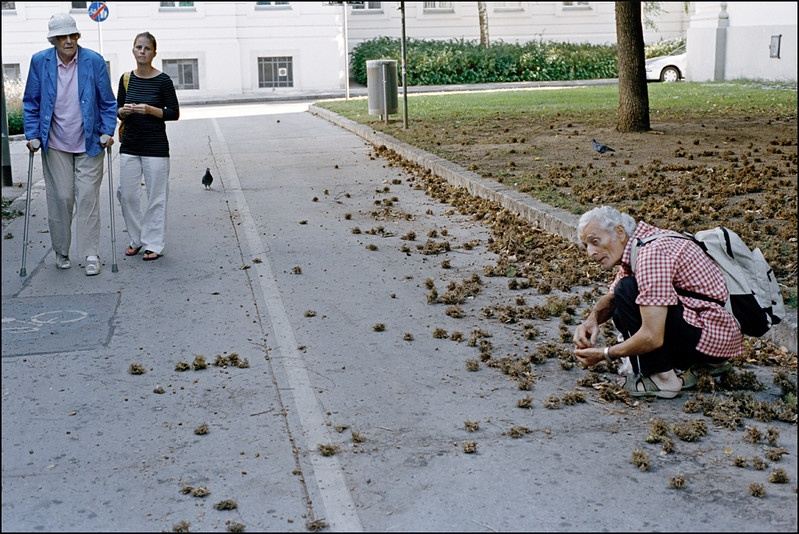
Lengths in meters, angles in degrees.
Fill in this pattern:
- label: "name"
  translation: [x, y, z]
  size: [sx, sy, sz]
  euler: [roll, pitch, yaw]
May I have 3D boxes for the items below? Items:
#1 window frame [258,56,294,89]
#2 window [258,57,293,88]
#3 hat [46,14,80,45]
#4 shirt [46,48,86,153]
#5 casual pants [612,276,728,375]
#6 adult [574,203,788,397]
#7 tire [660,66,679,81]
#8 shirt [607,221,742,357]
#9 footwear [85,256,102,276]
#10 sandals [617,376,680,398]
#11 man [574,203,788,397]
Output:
- label: "window frame"
  translation: [-5.919, -9.118, 35.252]
  size: [1.711, 1.560, 0.211]
  euler: [-1, 3, -15]
- label: "window"
  translation: [-5.939, -9.108, 35.249]
  size: [1.606, 1.270, 0.207]
  euler: [-2, 6, -17]
- label: "hat"
  translation: [-3.966, -2.786, 8.797]
  size: [0.375, 0.228, 0.404]
  euler: [-17, 11, -31]
- label: "shirt"
  translation: [-3.984, -1.889, 8.887]
  size: [0.405, 1.084, 0.224]
  euler: [-5, 15, -12]
- label: "casual pants"
  translation: [2.253, 0.424, 6.535]
  size: [0.875, 1.046, 0.841]
  euler: [1, 7, 11]
- label: "adult"
  translation: [2.311, 0.269, 6.305]
  size: [1.775, 1.342, 1.224]
  euler: [1, 1, 15]
- label: "tire"
  translation: [11.364, -8.125, 31.795]
  size: [0.640, 0.609, 0.228]
  euler: [-24, -10, 29]
- label: "shirt"
  translation: [2.284, 0.264, 6.000]
  size: [0.916, 1.002, 0.287]
  euler: [-6, 15, -16]
- label: "footwear"
  translation: [-3.656, -0.018, 8.944]
  size: [0.159, 0.202, 0.236]
  euler: [-6, 15, -15]
- label: "sandals"
  translation: [2.013, 0.948, 6.140]
  size: [0.395, 0.123, 0.195]
  euler: [2, 2, 17]
- label: "man"
  translation: [2.330, 0.284, 6.312]
  size: [1.767, 1.360, 1.238]
  euler: [1, 1, 12]
